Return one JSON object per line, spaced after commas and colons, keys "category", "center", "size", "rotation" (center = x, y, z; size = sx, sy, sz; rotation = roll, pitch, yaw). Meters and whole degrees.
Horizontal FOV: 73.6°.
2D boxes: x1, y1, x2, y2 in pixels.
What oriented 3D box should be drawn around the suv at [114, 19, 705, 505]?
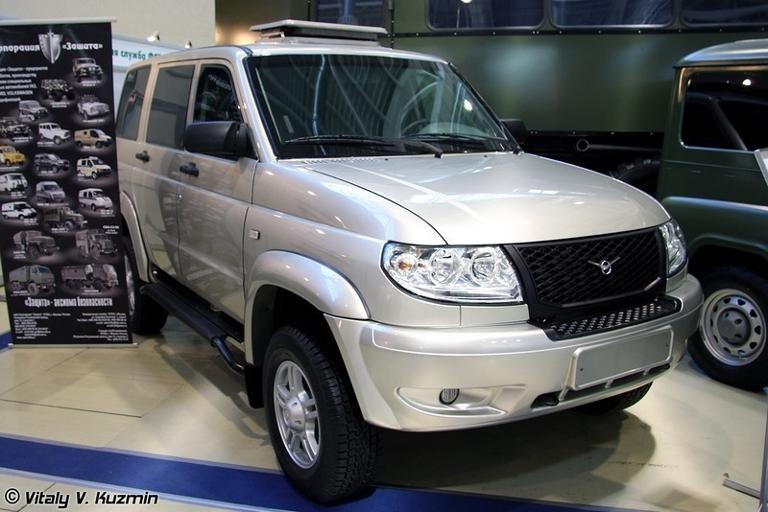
{"category": "suv", "center": [-0.439, -0.318, 4.710], "size": [2.522, 2.591, 5.043], "rotation": [-6, 10, -33]}
